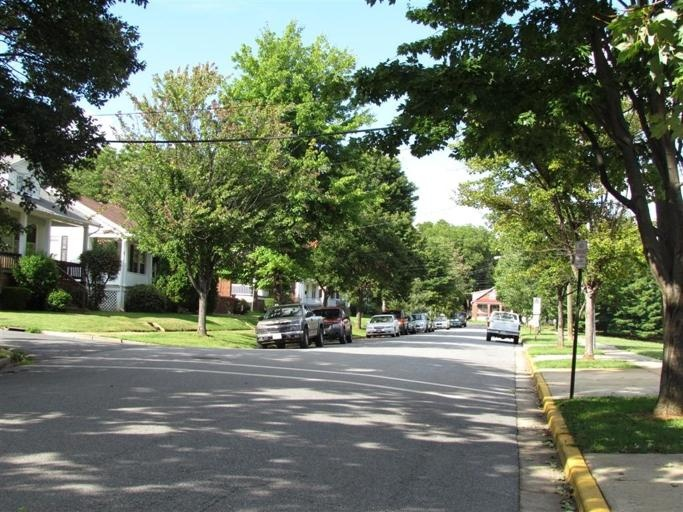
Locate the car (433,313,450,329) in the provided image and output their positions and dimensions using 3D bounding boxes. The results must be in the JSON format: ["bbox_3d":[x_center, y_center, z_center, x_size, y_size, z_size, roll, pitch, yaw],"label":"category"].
[{"bbox_3d":[12.195,8.119,77.831,1.311,1.084,3.057,-3,-8,14],"label":"car"}]

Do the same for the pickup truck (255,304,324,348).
[{"bbox_3d":[-2.035,3.049,27.812,1.615,1.220,3.000,-3,-11,11],"label":"pickup truck"}]

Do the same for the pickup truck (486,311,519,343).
[{"bbox_3d":[10.659,4.648,42.043,2.047,2.193,2.713,-2,-8,21],"label":"pickup truck"}]
